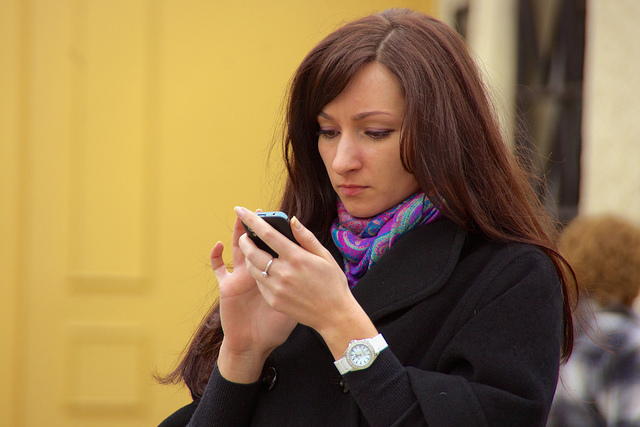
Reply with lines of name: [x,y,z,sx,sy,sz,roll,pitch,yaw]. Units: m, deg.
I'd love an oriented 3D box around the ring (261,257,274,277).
ring: [-0.228,0.231,4.065,0.024,0.070,0.060,29,7,3]
